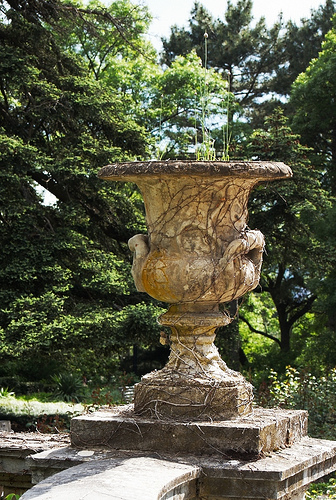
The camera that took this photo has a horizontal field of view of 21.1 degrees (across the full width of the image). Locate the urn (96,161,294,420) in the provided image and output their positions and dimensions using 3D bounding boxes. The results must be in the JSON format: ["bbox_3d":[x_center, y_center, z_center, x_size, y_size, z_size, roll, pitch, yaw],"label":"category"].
[{"bbox_3d":[0.324,0.254,7.349,1.430,2.007,1.577,-3,3,42],"label":"urn"}]
